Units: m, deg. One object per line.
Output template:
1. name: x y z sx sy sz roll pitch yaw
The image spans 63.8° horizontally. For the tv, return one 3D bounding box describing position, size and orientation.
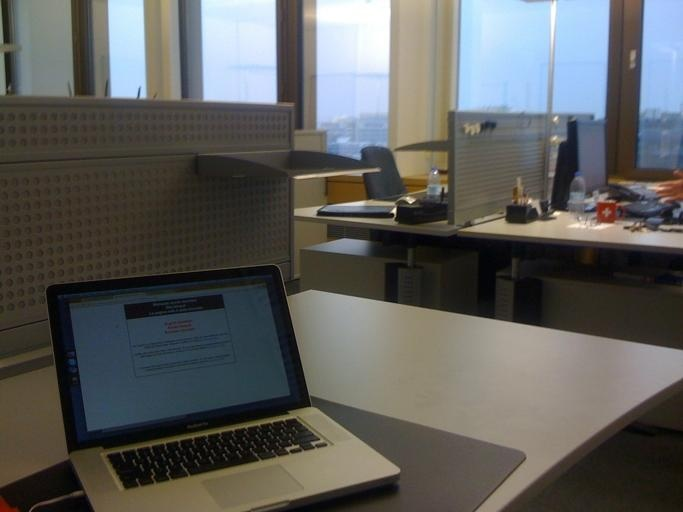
1. tv: 1.359 -0.516 3.158 0.172 0.533 0.500 5 15 38
